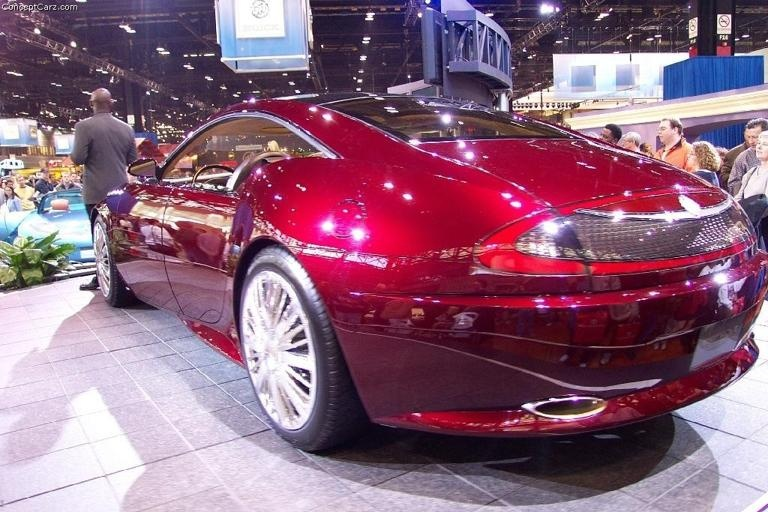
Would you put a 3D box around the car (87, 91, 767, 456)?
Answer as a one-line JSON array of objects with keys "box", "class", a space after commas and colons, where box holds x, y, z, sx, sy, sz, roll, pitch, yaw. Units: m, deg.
[{"box": [-0.357, -0.101, 2.532, 1.795, 0.726, 3.332, -4, 10, -43], "class": "car"}]
